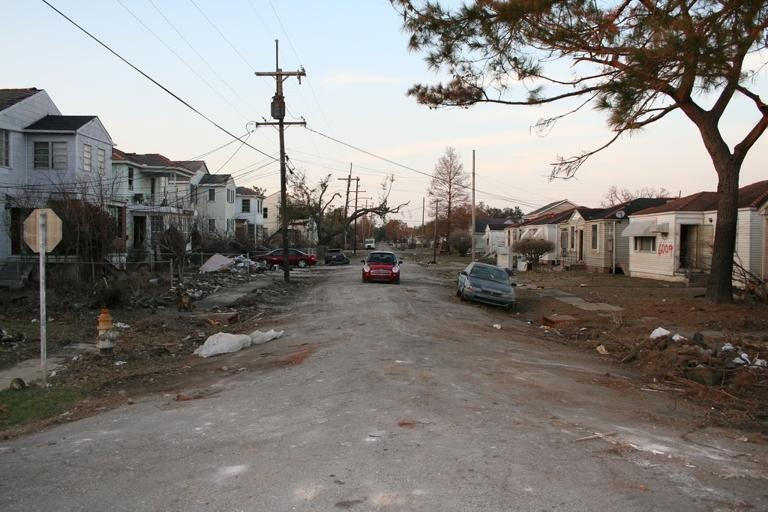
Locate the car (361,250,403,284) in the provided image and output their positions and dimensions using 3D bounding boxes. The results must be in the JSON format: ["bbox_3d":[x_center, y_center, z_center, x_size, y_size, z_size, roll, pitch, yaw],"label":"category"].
[{"bbox_3d":[-0.170,0.584,30.013,1.917,1.589,2.283,2,2,-1],"label":"car"}]

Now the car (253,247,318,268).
[{"bbox_3d":[-7.602,0.148,44.938,3.962,1.011,1.616,2,0,-12],"label":"car"}]

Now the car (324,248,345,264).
[{"bbox_3d":[-4.815,0.030,52.620,1.772,0.654,2.479,1,7,5],"label":"car"}]

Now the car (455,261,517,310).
[{"bbox_3d":[4.268,1.263,23.591,2.551,1.536,5.214,2,-3,0],"label":"car"}]

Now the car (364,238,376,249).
[{"bbox_3d":[-3.234,-2.447,112.976,2.361,1.746,3.426,-1,-2,4],"label":"car"}]
